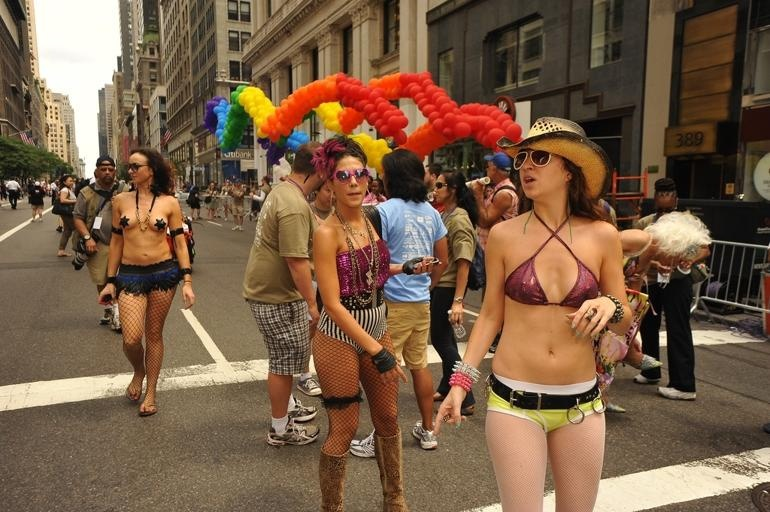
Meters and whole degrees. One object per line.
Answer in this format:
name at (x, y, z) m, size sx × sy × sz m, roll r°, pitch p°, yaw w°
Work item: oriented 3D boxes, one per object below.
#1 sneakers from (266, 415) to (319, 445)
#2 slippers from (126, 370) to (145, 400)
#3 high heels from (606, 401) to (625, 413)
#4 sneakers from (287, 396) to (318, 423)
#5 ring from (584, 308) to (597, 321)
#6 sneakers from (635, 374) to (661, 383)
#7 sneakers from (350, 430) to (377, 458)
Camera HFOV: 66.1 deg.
sneakers at (-0.993, 1.846, 6.333) m, size 0.559 × 0.297 × 0.247 m, roll -3°, pitch 8°, yaw -16°
slippers at (-2.917, 1.546, 6.927) m, size 0.139 × 0.189 × 0.458 m, roll 10°, pitch 44°, yaw -40°
high heels at (2.651, 1.760, 6.901) m, size 0.297 × 0.131 × 0.104 m, roll -1°, pitch 4°, yaw 0°
sneakers at (-0.879, 1.767, 6.754) m, size 0.430 × 0.222 × 0.167 m, roll 1°, pitch 0°, yaw 10°
ring at (1.463, 0.425, 4.227) m, size 0.091 × 0.030 × 0.053 m, roll -27°, pitch 59°, yaw -38°
sneakers at (3.382, 1.618, 7.680) m, size 0.335 × 0.149 × 0.131 m, roll 1°, pitch 2°, yaw 10°
sneakers at (-0.239, 1.946, 6.149) m, size 0.244 × 0.172 × 0.302 m, roll 0°, pitch 13°, yaw -4°
